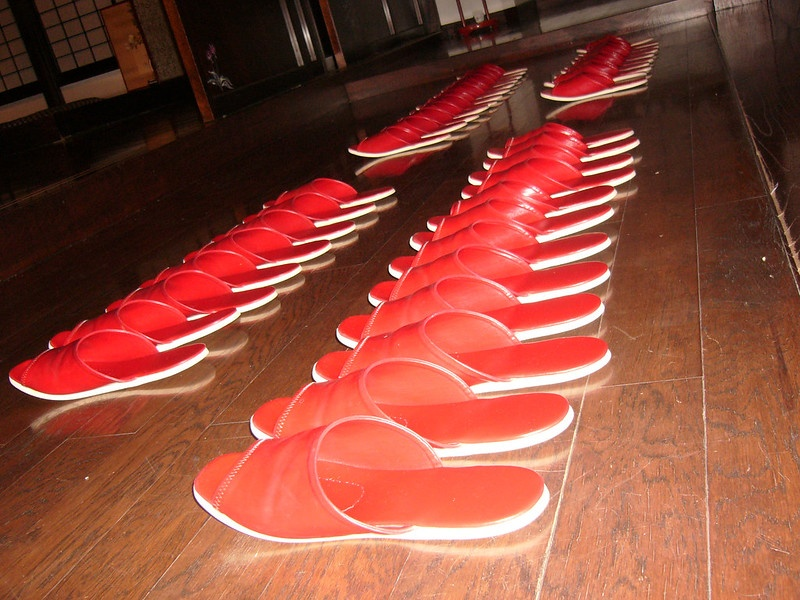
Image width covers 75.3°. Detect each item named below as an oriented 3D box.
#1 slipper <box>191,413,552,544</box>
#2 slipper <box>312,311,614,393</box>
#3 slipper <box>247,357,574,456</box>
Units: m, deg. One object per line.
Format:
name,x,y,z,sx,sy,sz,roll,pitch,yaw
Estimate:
slipper,-0.035,0.243,0.651,0.426,0.110,0.167,-3,29,11
slipper,0.099,0.124,0.846,0.445,0.110,0.158,-4,28,10
slipper,0.019,0.149,0.716,0.405,0.096,0.156,-1,26,8
